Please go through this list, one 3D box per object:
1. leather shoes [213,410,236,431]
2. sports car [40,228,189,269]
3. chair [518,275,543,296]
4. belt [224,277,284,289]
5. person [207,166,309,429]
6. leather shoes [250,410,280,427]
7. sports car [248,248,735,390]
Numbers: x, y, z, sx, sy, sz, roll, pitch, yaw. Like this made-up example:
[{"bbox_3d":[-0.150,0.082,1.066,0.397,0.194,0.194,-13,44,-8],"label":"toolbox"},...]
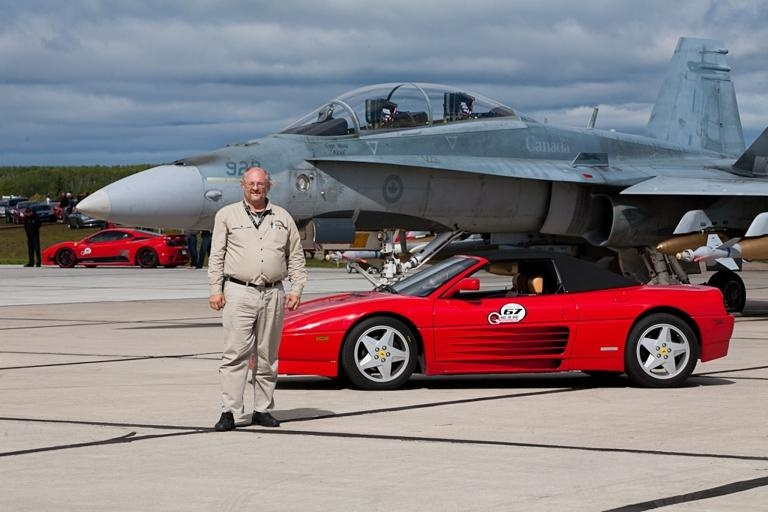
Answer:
[{"bbox_3d":[-1.459,1.477,7.145,0.191,0.170,0.225,-1,6,-11],"label":"leather shoes"},{"bbox_3d":[-11.112,-0.265,32.915,4.622,0.835,2.398,1,0,6],"label":"sports car"},{"bbox_3d":[1.746,0.328,9.307,0.296,0.171,0.329,4,-3,-17],"label":"chair"},{"bbox_3d":[-1.222,0.235,7.246,0.524,0.109,0.154,0,6,-4],"label":"belt"},{"bbox_3d":[-1.178,0.366,7.288,0.892,2.378,0.748,-1,8,-5],"label":"person"},{"bbox_3d":[-1.106,1.492,7.233,0.292,0.088,0.123,-2,1,29],"label":"leather shoes"},{"bbox_3d":[1.517,0.782,9.288,4.750,0.945,1.964,1,-5,-4],"label":"sports car"}]
